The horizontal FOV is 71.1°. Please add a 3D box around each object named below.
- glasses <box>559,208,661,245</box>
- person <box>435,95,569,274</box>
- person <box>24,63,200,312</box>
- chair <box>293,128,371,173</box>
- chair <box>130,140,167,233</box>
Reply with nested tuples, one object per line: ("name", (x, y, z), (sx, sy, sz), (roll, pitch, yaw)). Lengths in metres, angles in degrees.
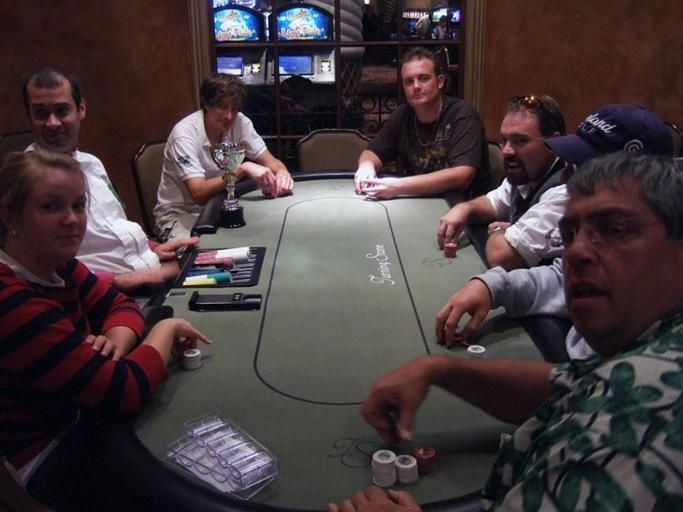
("glasses", (0.390, -0.057, 0.738), (0.095, 0.047, 0.139), (3, 22, 0))
("person", (0.858, -0.356, 2.307), (0.738, 0.654, 0.557), (-10, 17, -12))
("person", (-1.150, -0.352, 2.459), (0.873, 1.209, 0.749), (-2, 16, -7))
("chair", (-0.097, -0.911, 4.076), (0.718, 0.472, 0.569), (-2, 22, -12))
("chair", (-1.329, -0.488, 3.342), (0.236, 0.589, 0.270), (-1, 22, -17))
